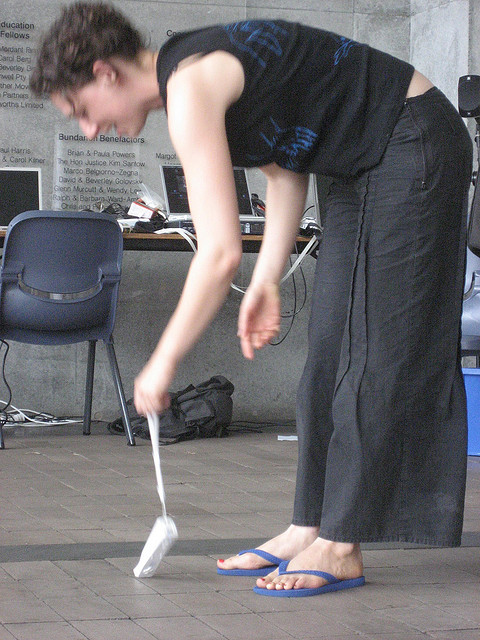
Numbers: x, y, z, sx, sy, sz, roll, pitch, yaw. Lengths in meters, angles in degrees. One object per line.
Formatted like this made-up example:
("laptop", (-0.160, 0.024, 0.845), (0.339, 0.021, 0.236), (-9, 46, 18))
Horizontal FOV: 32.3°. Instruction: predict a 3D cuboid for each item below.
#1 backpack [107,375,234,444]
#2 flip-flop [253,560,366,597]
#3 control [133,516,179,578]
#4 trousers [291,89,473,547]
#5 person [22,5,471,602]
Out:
("backpack", (-0.317, 0.463, 4.136), (0.685, 0.258, 0.426), (-4, 4, 1))
("flip-flop", (0.143, 0.497, 1.575), (0.215, 0.040, 0.061), (3, 3, -13))
("control", (-0.168, 0.455, 1.660), (0.063, 0.126, 0.091), (4, 3, -17))
("trousers", (0.245, -0.010, 1.705), (0.494, 0.842, 0.395), (5, 11, 0))
("person", (0.056, 0.005, 1.486), (0.757, 0.747, 0.406), (2, 4, -43))
